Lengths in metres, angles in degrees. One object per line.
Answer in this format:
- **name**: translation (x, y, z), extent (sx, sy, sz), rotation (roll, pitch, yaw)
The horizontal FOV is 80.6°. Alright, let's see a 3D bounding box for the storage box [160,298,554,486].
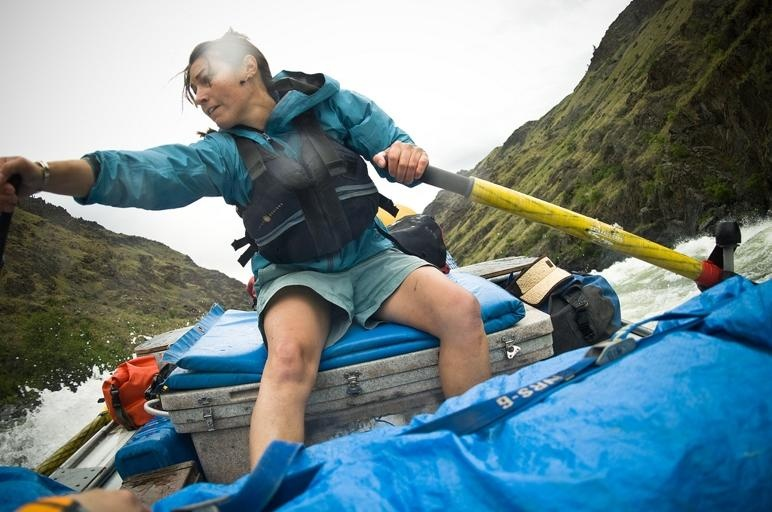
- **storage box**: translation (-0.133, 0.793, 2.433), extent (1.990, 0.504, 0.287), rotation (-11, -16, -3)

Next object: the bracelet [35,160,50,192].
- **bracelet**: translation (-1.425, -0.326, 1.897), extent (0.048, 0.129, 0.084), rotation (0, -20, -36)

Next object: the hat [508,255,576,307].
- **hat**: translation (1.163, 0.192, 3.457), extent (0.285, 0.153, 0.431), rotation (-34, 12, -18)
